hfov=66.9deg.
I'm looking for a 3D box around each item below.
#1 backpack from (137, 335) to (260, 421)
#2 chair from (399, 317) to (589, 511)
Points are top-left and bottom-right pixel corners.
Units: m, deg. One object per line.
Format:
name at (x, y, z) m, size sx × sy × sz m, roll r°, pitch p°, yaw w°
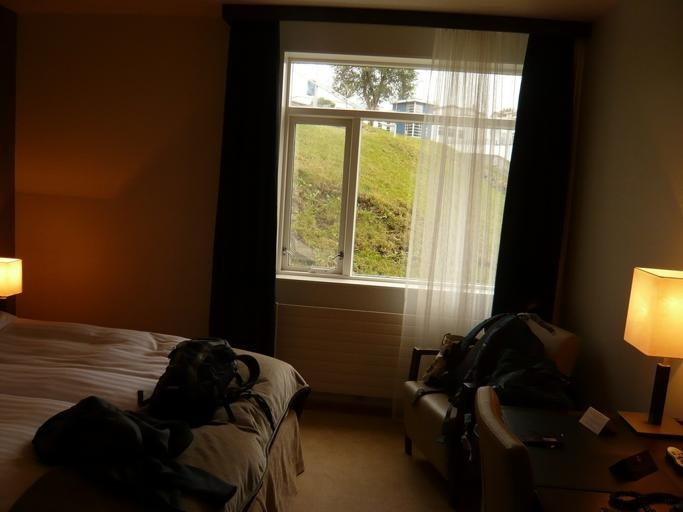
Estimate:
backpack at (-0.692, 0.622, 2.693) m, size 0.432 × 0.260 × 0.661 m, roll 8°, pitch 14°, yaw 21°
chair at (0.932, 0.848, 3.657) m, size 0.994 × 1.496 × 1.054 m, roll 2°, pitch 2°, yaw -7°
